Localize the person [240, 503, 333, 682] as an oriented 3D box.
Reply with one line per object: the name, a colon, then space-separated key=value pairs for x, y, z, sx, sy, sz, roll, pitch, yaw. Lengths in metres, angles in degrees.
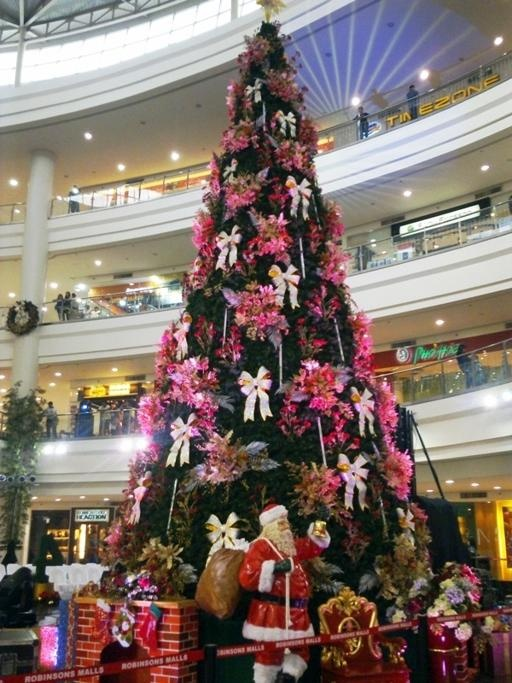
person: x=0.118 y=1.047 z=2.609 sx=0.415 sy=0.687 sz=0.306 roll=1 pitch=-15 yaw=-15

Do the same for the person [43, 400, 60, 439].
person: x=-5.084 y=1.930 z=15.145 sx=0.326 sy=0.948 sz=0.647 roll=2 pitch=-15 yaw=-19

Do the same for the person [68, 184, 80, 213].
person: x=-5.142 y=-3.969 z=17.266 sx=0.315 sy=0.999 sz=0.481 roll=1 pitch=-15 yaw=-16
